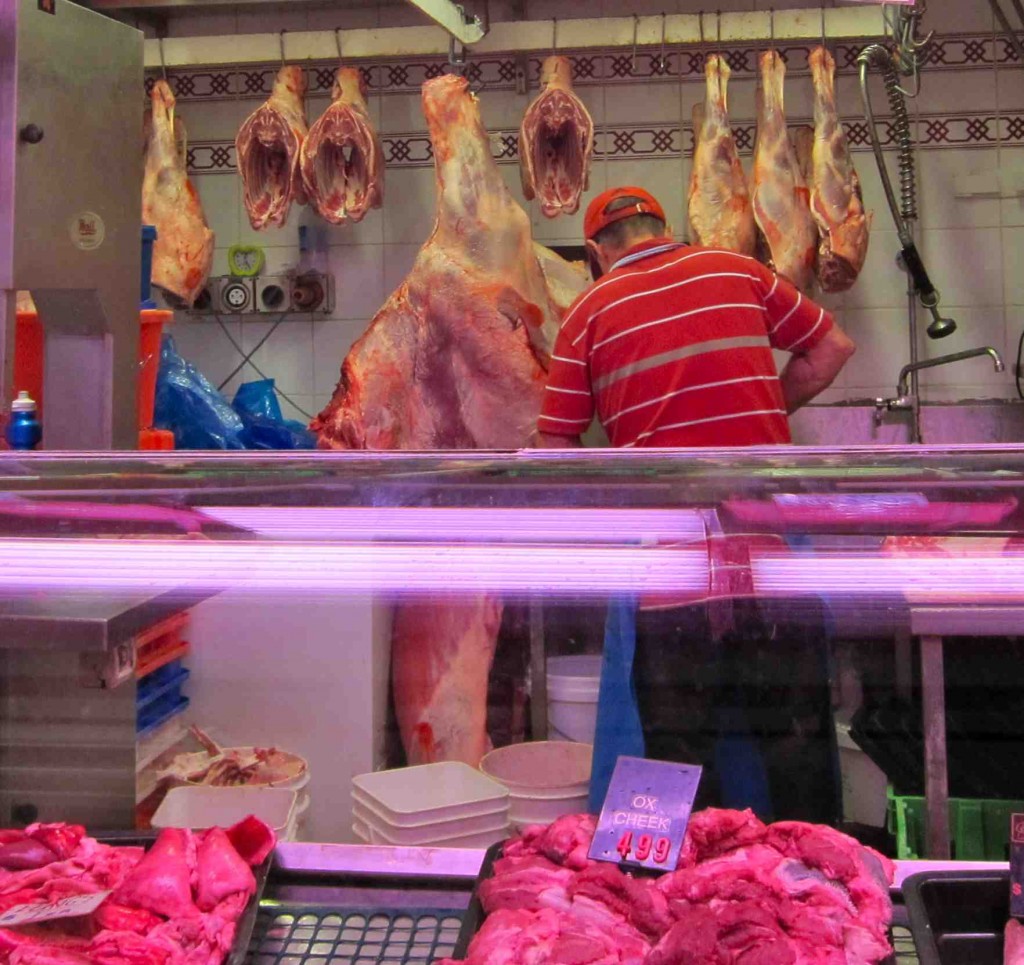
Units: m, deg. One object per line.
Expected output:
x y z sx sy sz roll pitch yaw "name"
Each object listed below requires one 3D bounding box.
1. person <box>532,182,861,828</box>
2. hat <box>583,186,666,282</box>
0.444 0.180 2.817 0.567 1.667 0.477 -5 8 2 "person"
0.260 -0.560 2.886 0.140 0.224 0.197 -9 13 9 "hat"
